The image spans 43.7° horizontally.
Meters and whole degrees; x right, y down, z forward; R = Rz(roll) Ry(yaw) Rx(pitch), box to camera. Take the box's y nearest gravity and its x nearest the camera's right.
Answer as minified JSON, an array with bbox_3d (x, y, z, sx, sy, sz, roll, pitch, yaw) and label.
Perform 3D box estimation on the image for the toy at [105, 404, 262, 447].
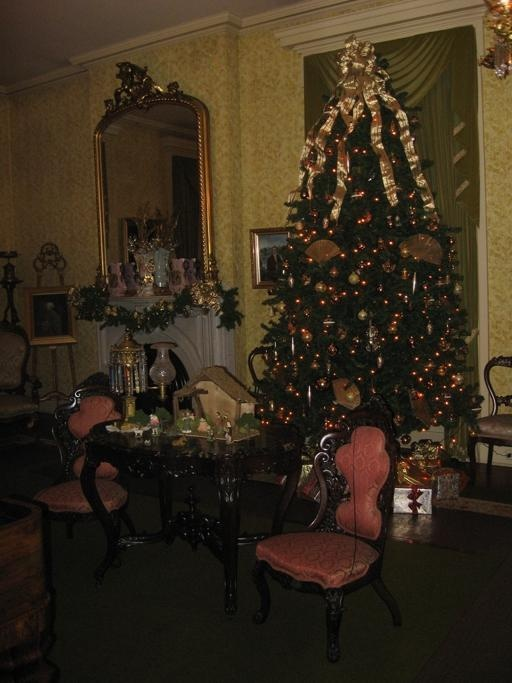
[{"bbox_3d":[-0.374,0.451,3.371,0.579,0.086,0.290,3,7,21],"label":"toy"}]

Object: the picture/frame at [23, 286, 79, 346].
[{"bbox_3d":[-2.278,-0.286,7.097,0.666,0.769,0.082,-6,6,-16],"label":"picture/frame"}]

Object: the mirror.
[{"bbox_3d":[-1.074,-1.733,6.391,1.553,2.129,0.194,1,5,35],"label":"mirror"}]

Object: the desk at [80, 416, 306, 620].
[{"bbox_3d":[-0.257,0.646,3.422,1.353,0.872,0.821,3,6,28],"label":"desk"}]

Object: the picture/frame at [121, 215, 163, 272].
[{"bbox_3d":[-1.141,-0.999,6.456,0.678,0.715,0.033,-1,-4,36],"label":"picture/frame"}]
